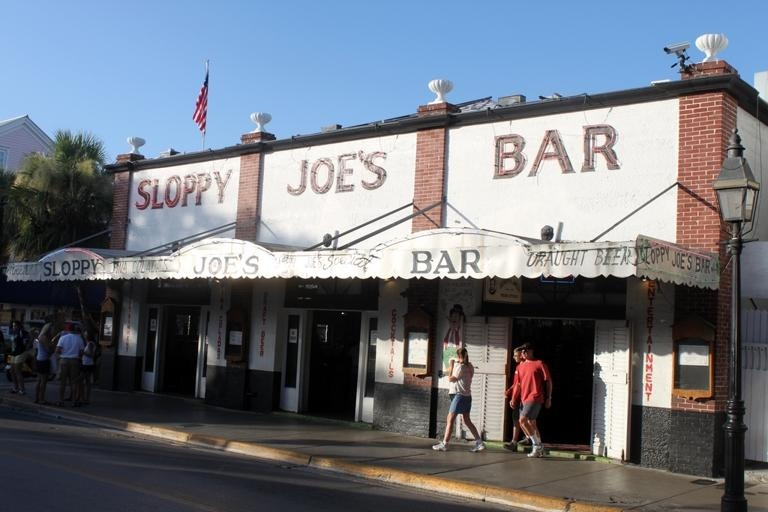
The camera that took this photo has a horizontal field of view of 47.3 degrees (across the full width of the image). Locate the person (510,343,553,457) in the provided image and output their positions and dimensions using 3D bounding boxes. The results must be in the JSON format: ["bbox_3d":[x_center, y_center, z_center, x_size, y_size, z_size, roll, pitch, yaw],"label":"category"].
[{"bbox_3d":[3.296,3.229,19.811,0.869,2.508,0.495,-2,-9,29],"label":"person"}]

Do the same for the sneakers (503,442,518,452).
[{"bbox_3d":[2.930,4.405,20.345,0.348,0.251,0.122,8,-6,37],"label":"sneakers"}]

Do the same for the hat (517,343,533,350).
[{"bbox_3d":[3.167,2.036,20.004,0.297,0.110,0.192,-2,-3,38],"label":"hat"}]

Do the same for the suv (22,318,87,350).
[{"bbox_3d":[-10.144,2.388,27.157,2.173,0.988,1.153,2,-7,-21],"label":"suv"}]

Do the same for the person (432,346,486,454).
[{"bbox_3d":[1.792,3.257,20.089,0.988,2.348,0.669,8,-10,-36],"label":"person"}]

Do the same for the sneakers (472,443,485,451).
[{"bbox_3d":[2.145,4.391,20.153,0.126,0.174,0.370,8,-11,-26],"label":"sneakers"}]

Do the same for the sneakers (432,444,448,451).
[{"bbox_3d":[1.265,4.348,20.001,0.341,0.158,0.129,0,-3,23],"label":"sneakers"}]
